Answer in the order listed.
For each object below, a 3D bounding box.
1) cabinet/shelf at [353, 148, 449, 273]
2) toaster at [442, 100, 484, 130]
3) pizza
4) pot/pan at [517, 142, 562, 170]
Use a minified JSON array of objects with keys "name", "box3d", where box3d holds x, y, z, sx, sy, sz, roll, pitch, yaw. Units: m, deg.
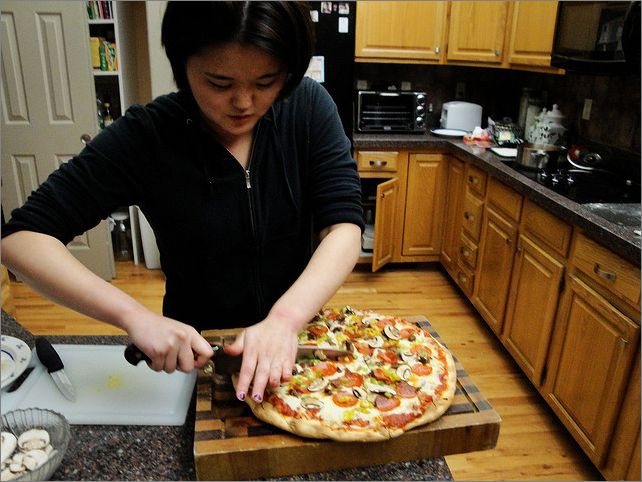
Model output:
[{"name":"cabinet/shelf","box3d":[0.591,-0.333,3.691,0.933,1.001,0.735,-1,16,-3]},{"name":"toaster","box3d":[1.069,-0.975,3.599,0.325,0.318,0.178,2,15,-2]},{"name":"pizza","box3d":[0.119,0.350,1.201,0.305,0.041,0.322,8,23,20]},{"name":"pot/pan","box3d":[1.189,-0.464,2.572,0.190,0.085,0.228,-7,24,-12]}]
